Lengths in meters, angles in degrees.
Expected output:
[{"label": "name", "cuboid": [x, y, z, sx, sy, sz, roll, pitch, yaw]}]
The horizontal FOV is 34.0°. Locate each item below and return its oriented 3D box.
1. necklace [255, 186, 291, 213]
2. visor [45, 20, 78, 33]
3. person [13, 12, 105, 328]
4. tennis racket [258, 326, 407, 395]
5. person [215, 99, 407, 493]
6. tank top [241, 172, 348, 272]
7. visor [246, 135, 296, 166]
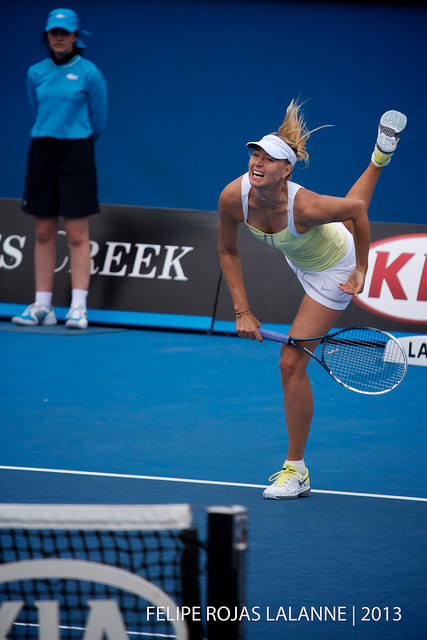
[{"label": "necklace", "cuboid": [0.248, -0.501, 2.861, 0.172, 0.018, 0.024, 32, 46, -14]}, {"label": "visor", "cuboid": [-1.329, -2.580, 6.128, 0.161, 0.072, 0.220, 2, -3, 7]}, {"label": "person", "cuboid": [-1.418, -1.340, 6.468, 0.770, 2.809, 0.488, 2, 7, -10]}, {"label": "tennis racket", "cuboid": [0.481, 0.131, 3.649, 1.060, 0.342, 0.055, 14, 22, 40]}, {"label": "person", "cuboid": [0.336, -0.102, 3.083, 0.665, 1.680, 0.561, 3, 7, 0]}, {"label": "tank top", "cuboid": [0.348, -0.420, 3.069, 0.383, 0.409, 0.539, 7, 7, 30]}, {"label": "visor", "cuboid": [0.248, -0.709, 2.874, 0.202, 0.122, 0.200, 3, 6, 0]}]
